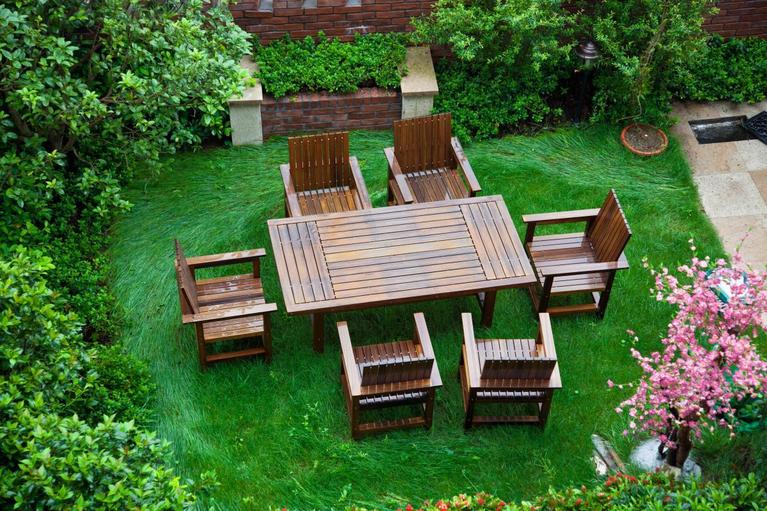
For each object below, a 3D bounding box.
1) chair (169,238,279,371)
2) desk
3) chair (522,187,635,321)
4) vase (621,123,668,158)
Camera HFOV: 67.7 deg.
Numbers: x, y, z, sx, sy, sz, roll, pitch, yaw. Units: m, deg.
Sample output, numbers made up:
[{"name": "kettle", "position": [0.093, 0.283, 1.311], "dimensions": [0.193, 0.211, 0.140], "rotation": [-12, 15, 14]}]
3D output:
[{"name": "chair", "position": [-1.902, 0.506, 6.801], "dimensions": [1.030, 1.383, 1.094], "rotation": [-13, 44, -10]}, {"name": "desk", "position": [0.149, -0.208, 7.080], "dimensions": [3.315, 0.997, 1.741], "rotation": [-10, 65, -8]}, {"name": "chair", "position": [2.582, 0.063, 7.580], "dimensions": [1.061, 1.456, 1.081], "rotation": [-2, 58, 0]}, {"name": "vase", "position": [4.209, -1.860, 9.233], "dimensions": [0.733, 0.279, 0.595], "rotation": [8, 45, 12]}]
